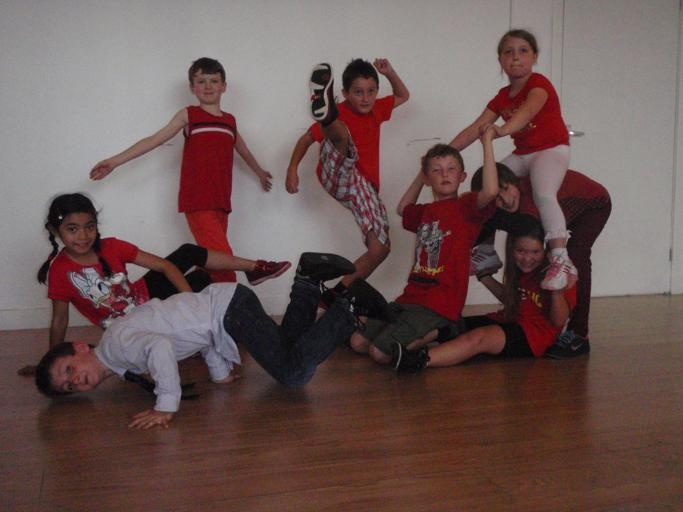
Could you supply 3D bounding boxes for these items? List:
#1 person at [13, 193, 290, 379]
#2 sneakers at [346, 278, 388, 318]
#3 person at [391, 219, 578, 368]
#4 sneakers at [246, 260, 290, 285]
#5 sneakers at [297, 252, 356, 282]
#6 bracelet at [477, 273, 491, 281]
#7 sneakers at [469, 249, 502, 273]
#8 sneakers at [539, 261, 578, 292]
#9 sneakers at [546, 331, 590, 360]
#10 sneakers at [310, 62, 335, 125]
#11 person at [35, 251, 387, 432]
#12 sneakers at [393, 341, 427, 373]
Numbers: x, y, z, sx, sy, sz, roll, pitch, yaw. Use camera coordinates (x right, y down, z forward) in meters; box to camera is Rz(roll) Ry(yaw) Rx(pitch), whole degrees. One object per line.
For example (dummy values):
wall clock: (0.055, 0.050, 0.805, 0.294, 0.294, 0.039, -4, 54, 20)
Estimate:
person: (-0.924, 0.074, 2.667, 1.344, 0.766, 0.448, -16, 20, -26)
sneakers: (0.125, 0.216, 2.367, 0.117, 0.210, 0.092, -25, 31, 45)
person: (0.681, 0.184, 2.646, 0.946, 0.721, 0.461, -6, 7, -19)
sneakers: (-0.432, 0.094, 3.174, 0.179, 0.086, 0.069, -23, 26, 14)
sneakers: (-0.058, 0.054, 2.202, 0.198, 0.080, 0.113, 16, 30, -20)
bracelet: (0.740, 0.112, 2.891, 0.055, 0.022, 0.042, -21, -4, 28)
sneakers: (0.736, 0.027, 2.869, 0.183, 0.136, 0.088, 0, 3, -5)
sneakers: (0.994, 0.111, 2.569, 0.098, 0.077, 0.178, -6, 26, 39)
sneakers: (1.074, 0.421, 2.680, 0.239, 0.110, 0.094, -5, 39, -21)
sneakers: (-0.084, -0.694, 2.389, 0.097, 0.262, 0.108, -1, 3, 18)
person: (-0.501, 0.470, 2.228, 1.098, 0.455, 0.631, -24, 14, 0)
sneakers: (0.304, 0.457, 2.499, 0.155, 0.108, 0.098, 0, -10, -5)
